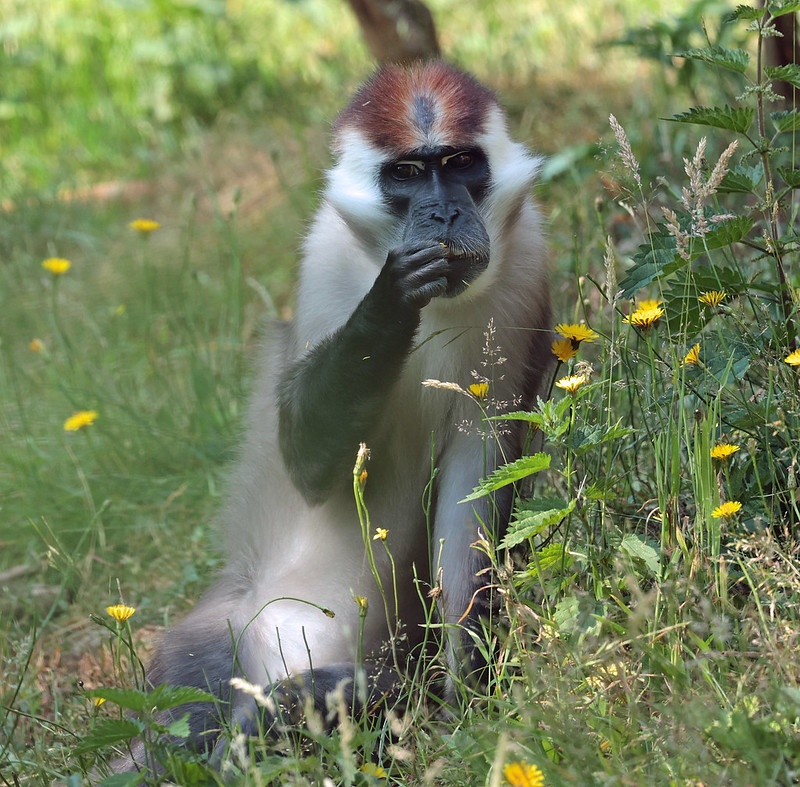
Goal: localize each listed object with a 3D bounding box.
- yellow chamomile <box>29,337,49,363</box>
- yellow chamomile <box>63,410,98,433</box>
[{"bbox_3d":[-1.499,-0.183,4.532,0.063,0.059,0.183,-21,40,-11],"label":"yellow chamomile"},{"bbox_3d":[-1.098,0.097,3.722,0.129,0.070,0.126,-20,3,-8],"label":"yellow chamomile"}]
